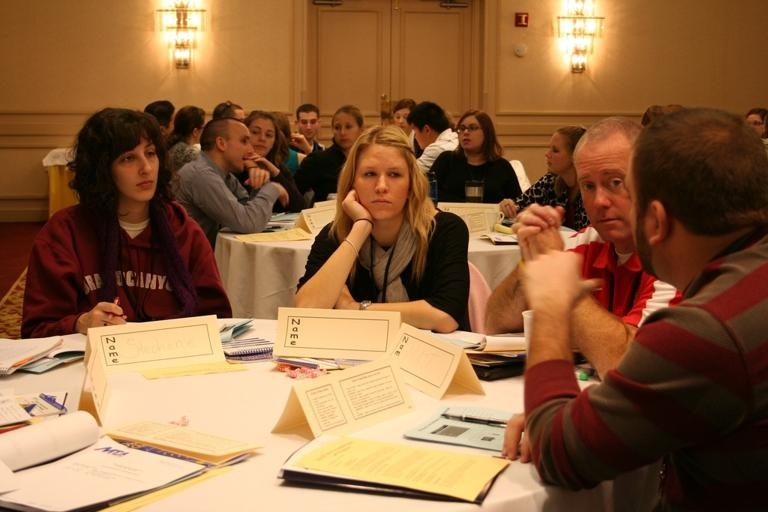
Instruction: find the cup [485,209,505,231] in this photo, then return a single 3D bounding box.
[{"bbox_3d":[0.702,-0.236,3.631,0.133,0.135,0.107,1,0,-15],"label":"cup"}]
